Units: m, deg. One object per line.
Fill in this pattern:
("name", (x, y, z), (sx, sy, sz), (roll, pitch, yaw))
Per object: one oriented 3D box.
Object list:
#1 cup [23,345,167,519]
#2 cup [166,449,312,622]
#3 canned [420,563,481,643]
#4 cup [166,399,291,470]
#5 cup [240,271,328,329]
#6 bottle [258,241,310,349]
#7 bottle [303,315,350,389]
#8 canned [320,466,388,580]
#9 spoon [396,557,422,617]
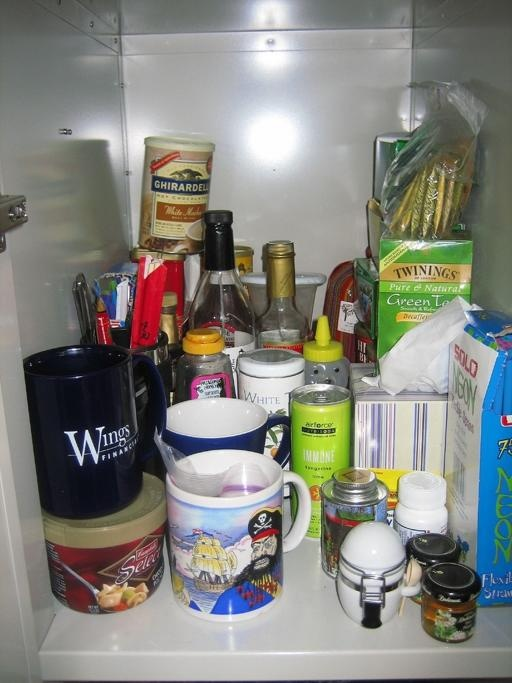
("cup", (-0.127, 0.075, 0.489), (0.080, 0.148, 0.163), (1, 11, 18))
("cup", (-0.009, 0.158, 0.496), (0.123, 0.102, 0.092), (-4, 15, -22))
("canned", (0.136, 0.189, 0.400), (0.047, 0.049, 0.047), (-2, 18, 3))
("cup", (-0.024, 0.076, 0.524), (0.096, 0.059, 0.067), (-1, 13, -17))
("cup", (0.045, -0.079, 0.833), (0.091, 0.103, 0.103), (3, 11, 22))
("bottle", (0.032, -0.061, 0.713), (0.064, 0.131, 0.181), (-1, 10, 5))
("bottle", (0.078, 0.012, 0.619), (0.054, 0.083, 0.072), (-3, 10, -4))
("canned", (0.080, 0.158, 0.494), (0.065, 0.090, 0.072), (1, 11, 19))
("spoon", (0.120, 0.181, 0.429), (0.012, 0.019, 0.029), (2, 11, 23))
